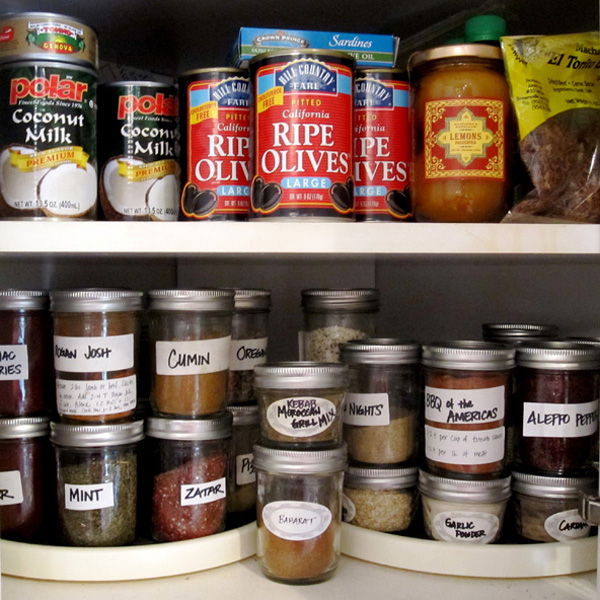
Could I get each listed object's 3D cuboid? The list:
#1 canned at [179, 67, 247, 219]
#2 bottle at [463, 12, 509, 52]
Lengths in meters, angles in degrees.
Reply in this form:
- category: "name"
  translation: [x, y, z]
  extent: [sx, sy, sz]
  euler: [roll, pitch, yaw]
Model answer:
- category: "canned"
  translation: [-0.107, -0.190, 0.847]
  extent: [0.103, 0.177, 0.069]
  euler: [-1, 4, -26]
- category: "bottle"
  translation: [0.242, -0.353, 0.887]
  extent: [0.065, 0.036, 0.060]
  euler: [1, 10, 0]
